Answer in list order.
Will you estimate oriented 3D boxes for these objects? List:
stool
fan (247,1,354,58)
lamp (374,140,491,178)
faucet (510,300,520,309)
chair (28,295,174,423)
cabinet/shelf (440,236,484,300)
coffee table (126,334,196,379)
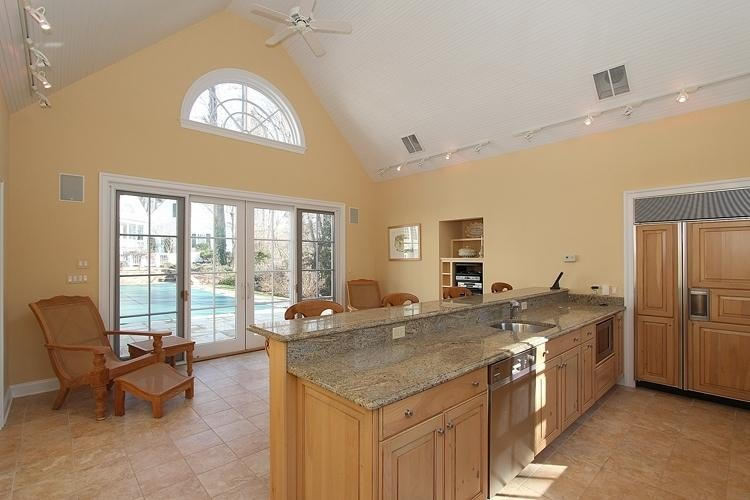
[{"bbox_3d":[-2.719,1.654,5.544,0.705,0.369,0.682,-2,3,-40],"label":"stool"},{"bbox_3d":[-0.859,-2.668,5.397,0.986,0.271,1.071,5,-12,-18],"label":"fan"},{"bbox_3d":[1.057,-1.715,8.264,0.232,0.306,2.589,-32,18,-29],"label":"lamp"},{"bbox_3d":[1.697,0.661,5.483,0.112,0.053,0.149,1,1,15],"label":"faucet"},{"bbox_3d":[-3.595,1.279,5.788,1.331,1.277,0.981,1,4,16],"label":"chair"},{"bbox_3d":[1.662,0.284,8.103,0.905,1.001,0.481,-2,0,42],"label":"cabinet/shelf"},{"bbox_3d":[-2.995,1.565,6.256,0.736,0.495,0.744,-1,-3,4],"label":"coffee table"}]
